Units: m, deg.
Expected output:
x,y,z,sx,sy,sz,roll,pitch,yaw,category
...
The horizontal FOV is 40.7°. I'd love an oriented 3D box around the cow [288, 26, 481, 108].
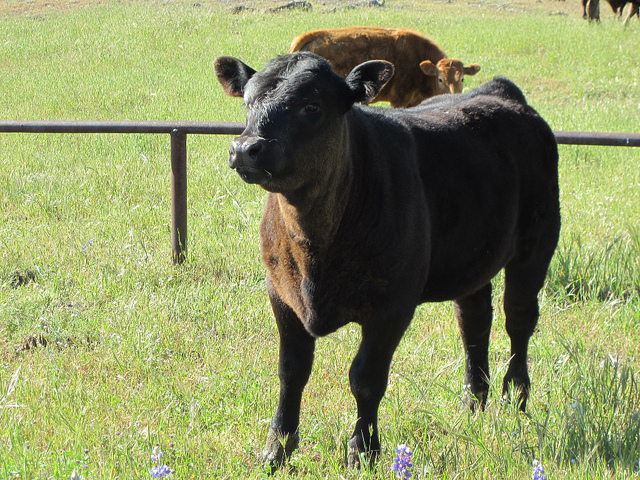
x,y,z,sx,sy,sz,roll,pitch,yaw,category
1.117,-2.660,14.760,2.630,1.942,0.889,6,15,-9,cow
